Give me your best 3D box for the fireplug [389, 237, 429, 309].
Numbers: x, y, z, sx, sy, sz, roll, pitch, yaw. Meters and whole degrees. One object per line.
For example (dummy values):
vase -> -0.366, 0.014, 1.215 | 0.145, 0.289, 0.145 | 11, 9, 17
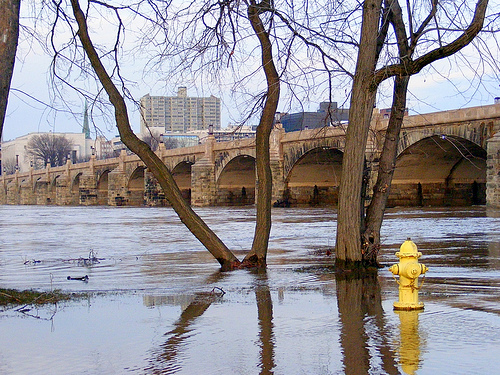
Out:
fireplug -> 2.586, 1.384, 15.759 | 0.583, 1.143, 0.429 | -1, -4, 7

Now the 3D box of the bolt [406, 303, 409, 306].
bolt -> 2.537, 1.871, 15.535 | 0.039, 0.038, 0.025 | -1, -4, 8

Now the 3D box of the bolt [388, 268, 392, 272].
bolt -> 2.312, 1.350, 15.904 | 0.059, 0.027, 0.044 | -19, -3, 11
